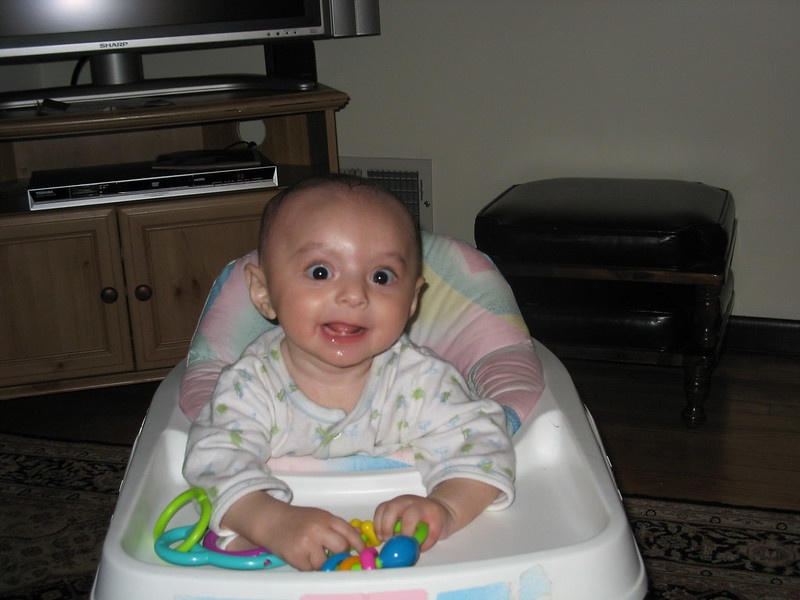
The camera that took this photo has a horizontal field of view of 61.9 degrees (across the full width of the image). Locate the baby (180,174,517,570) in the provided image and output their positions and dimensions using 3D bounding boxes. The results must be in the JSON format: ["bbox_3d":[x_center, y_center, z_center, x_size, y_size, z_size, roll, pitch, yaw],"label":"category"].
[{"bbox_3d":[-0.066,0.064,0.768,0.367,0.382,0.318,16,22,38],"label":"baby"}]
